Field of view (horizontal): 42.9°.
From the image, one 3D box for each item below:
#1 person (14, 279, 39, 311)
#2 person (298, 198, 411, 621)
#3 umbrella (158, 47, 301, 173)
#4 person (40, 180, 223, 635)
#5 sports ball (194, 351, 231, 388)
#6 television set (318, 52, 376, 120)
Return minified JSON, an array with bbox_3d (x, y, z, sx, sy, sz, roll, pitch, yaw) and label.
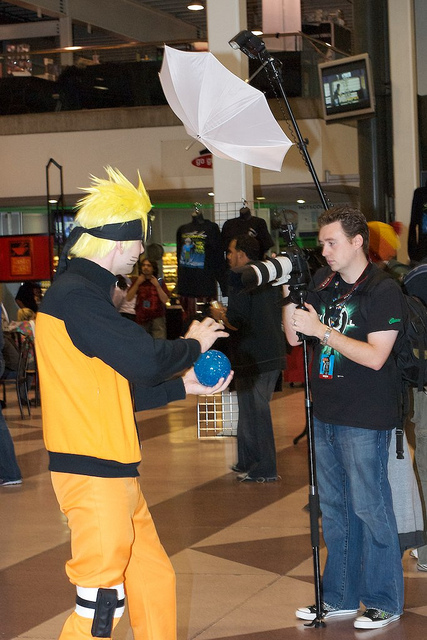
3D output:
[{"bbox_3d":[-3.595,-0.492,10.418,0.381,0.598,1.931,0,-2,-18],"label":"person"},{"bbox_3d":[0.528,0.383,2.031,0.469,1.582,0.409,0,-2,-21],"label":"person"},{"bbox_3d":[0.064,-1.574,4.097,1.024,0.968,0.371,-1,-1,9],"label":"umbrella"},{"bbox_3d":[-0.189,0.214,1.293,0.432,1.126,0.298,0,-2,-18],"label":"person"},{"bbox_3d":[-0.003,0.128,1.500,0.094,0.104,0.088,-4,50,4],"label":"sports ball"},{"bbox_3d":[1.420,-2.582,5.986,0.246,0.774,0.684,1,-2,-44],"label":"television set"}]
